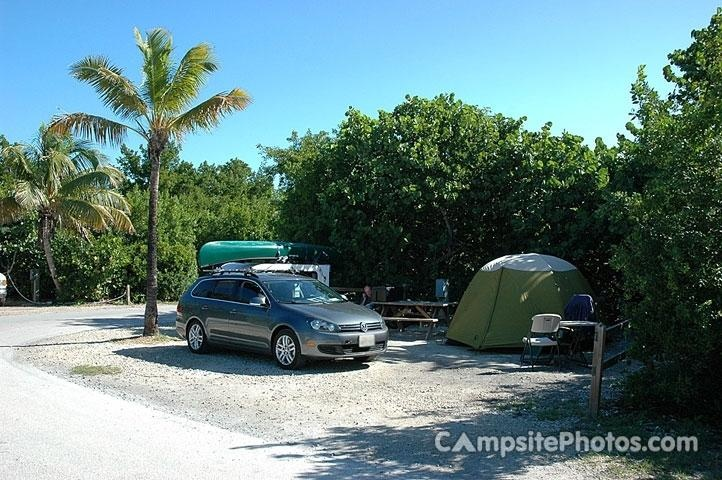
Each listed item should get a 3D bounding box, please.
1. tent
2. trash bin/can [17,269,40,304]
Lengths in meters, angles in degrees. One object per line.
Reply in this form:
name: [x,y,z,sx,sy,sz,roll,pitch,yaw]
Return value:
tent: [4.125,1.764,18.162,2.971,2.084,2.896,0,-8,-3]
trash bin/can: [-17.467,2.330,32.776,1.153,1.700,3.217,-2,4,-30]
